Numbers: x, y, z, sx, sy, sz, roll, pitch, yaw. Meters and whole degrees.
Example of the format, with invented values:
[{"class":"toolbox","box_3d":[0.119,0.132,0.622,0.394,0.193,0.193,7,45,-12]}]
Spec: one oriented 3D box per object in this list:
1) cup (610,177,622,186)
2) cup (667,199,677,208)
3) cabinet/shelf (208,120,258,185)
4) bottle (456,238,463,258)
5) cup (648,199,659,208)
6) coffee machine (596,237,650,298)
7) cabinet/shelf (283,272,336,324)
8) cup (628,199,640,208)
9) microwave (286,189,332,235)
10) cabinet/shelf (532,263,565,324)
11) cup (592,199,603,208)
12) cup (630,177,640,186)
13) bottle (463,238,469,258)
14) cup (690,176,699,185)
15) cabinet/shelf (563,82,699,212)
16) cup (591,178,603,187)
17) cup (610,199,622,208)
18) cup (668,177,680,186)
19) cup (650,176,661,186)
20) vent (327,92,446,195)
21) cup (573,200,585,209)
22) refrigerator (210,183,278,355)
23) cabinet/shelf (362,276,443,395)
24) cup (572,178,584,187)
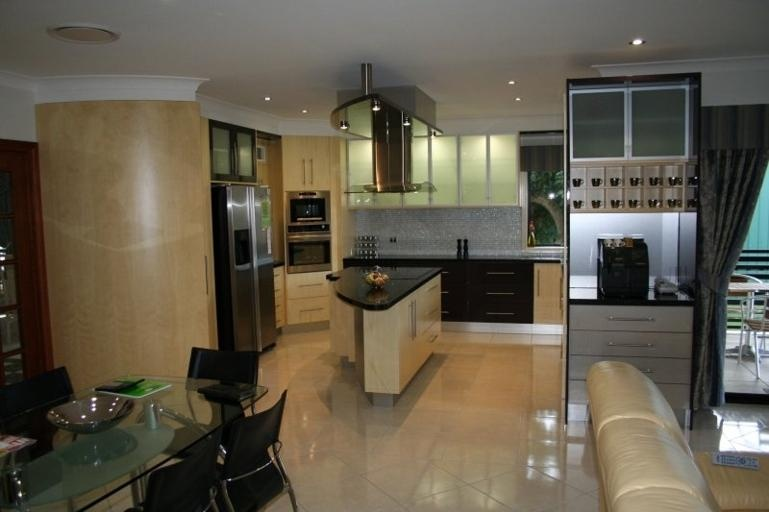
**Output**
[{"class":"cup","box_3d":[2.325,-0.746,5.521,0.089,0.071,0.073,4,3,20]},{"class":"cup","box_3d":[2.848,-0.526,5.419,0.079,0.058,0.076,0,5,0]},{"class":"cabinet/shelf","box_3d":[-2.135,-1.339,7.288,0.330,0.751,0.929,3,6,25]},{"class":"bottle","box_3d":[1.168,-0.142,8.529,0.094,0.233,0.284,0,12,7]},{"class":"cup","box_3d":[2.710,-0.528,5.512,0.085,0.065,0.083,0,4,0]},{"class":"coffee machine","box_3d":[2.478,0.106,5.608,0.464,0.596,0.502,1,4,13]},{"class":"cabinet/shelf","box_3d":[-1.138,0.487,8.547,0.971,1.108,0.671,0,7,-9]},{"class":"cup","box_3d":[2.530,-0.531,5.534,0.084,0.064,0.073,-2,3,-22]},{"class":"microwave","box_3d":[-1.207,-0.676,8.413,0.712,0.662,0.357,-4,12,-20]},{"class":"cabinet/shelf","box_3d":[2.286,0.540,8.074,0.537,0.877,0.558,2,-3,-3]},{"class":"cup","box_3d":[2.180,-0.528,5.605,0.088,0.065,0.071,7,8,32]},{"class":"cup","box_3d":[2.509,-0.750,5.493,0.095,0.064,0.061,1,1,-4]},{"class":"bottle","box_3d":[1.265,-0.141,8.511,0.089,0.230,0.293,0,12,6]},{"class":"cup","box_3d":[2.964,-0.722,5.238,0.071,0.054,0.073,0,3,0]},{"class":"cabinet/shelf","box_3d":[2.451,-1.109,5.370,1.286,1.251,0.411,1,6,6]},{"class":"cup","box_3d":[2.162,-0.746,5.560,0.099,0.067,0.068,3,4,14]},{"class":"cup","box_3d":[2.359,-0.531,5.577,0.069,0.064,0.081,-1,5,-34]},{"class":"cup","box_3d":[2.872,-0.742,5.425,0.073,0.079,0.083,0,4,-44]},{"class":"cup","box_3d":[2.720,-0.744,5.490,0.072,0.065,0.089,0,11,3]},{"class":"vent","box_3d":[0.115,-1.125,6.548,0.930,0.772,1.573,0,9,39]},{"class":"cup","box_3d":[1.973,-0.524,5.548,0.100,0.070,0.065,2,5,17]},{"class":"refrigerator","box_3d":[-1.884,0.192,7.200,0.536,2.285,0.971,1,12,12]},{"class":"cabinet/shelf","box_3d":[0.153,0.848,5.871,0.437,0.614,1.246,0,6,10]},{"class":"cup","box_3d":[1.951,-0.745,5.522,0.102,0.071,0.066,1,3,2]}]
